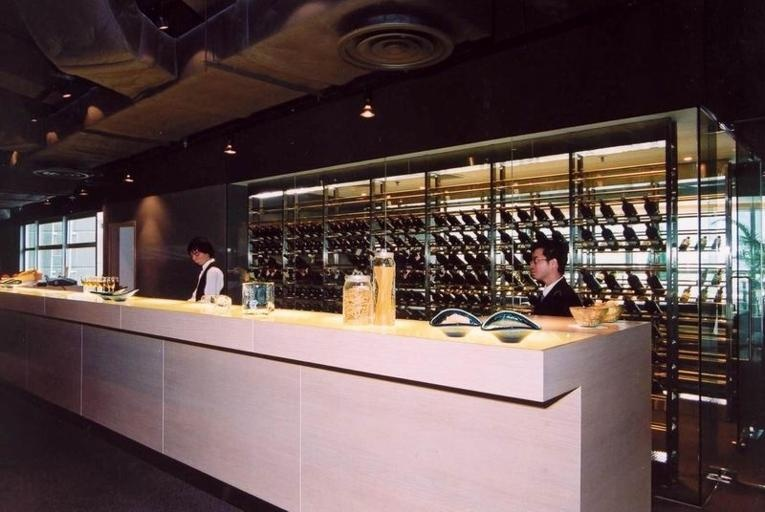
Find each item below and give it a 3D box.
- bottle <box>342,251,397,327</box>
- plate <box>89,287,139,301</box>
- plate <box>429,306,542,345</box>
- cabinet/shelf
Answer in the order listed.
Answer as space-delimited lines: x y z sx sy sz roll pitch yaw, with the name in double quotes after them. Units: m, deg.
-0.097 0.228 4.005 0.365 0.508 0.168 -3 6 -6 "bottle"
-2.422 0.363 5.443 0.229 0.095 0.276 0 -1 33 "plate"
0.634 0.428 3.723 0.712 0.186 0.247 1 7 22 "plate"
1.695 0.211 6.649 4.660 2.668 1.475 -1 5 42 "cabinet/shelf"
